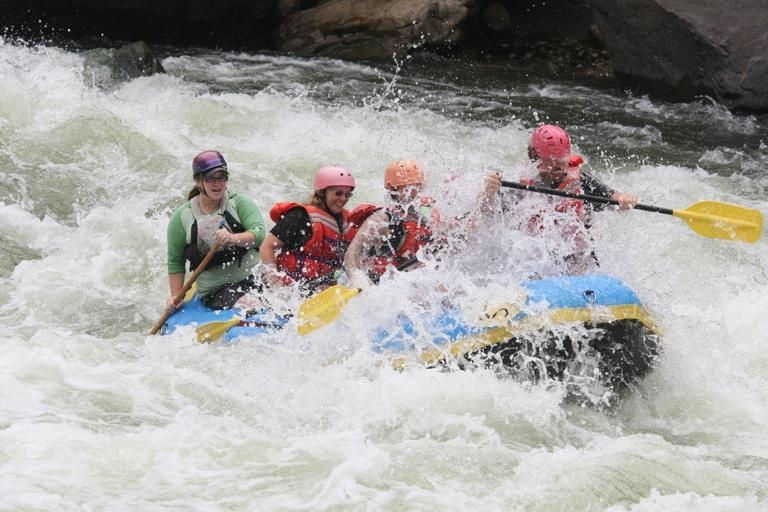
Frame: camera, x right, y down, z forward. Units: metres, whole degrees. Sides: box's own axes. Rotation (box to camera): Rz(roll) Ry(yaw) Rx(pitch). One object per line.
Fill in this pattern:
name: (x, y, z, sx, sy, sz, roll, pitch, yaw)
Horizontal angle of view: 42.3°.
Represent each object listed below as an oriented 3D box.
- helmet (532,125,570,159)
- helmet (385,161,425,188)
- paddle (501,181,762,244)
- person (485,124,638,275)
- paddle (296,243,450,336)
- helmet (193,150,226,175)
helmet: (1.710, -1.161, 10.441, 0.320, 0.379, 0.366, -5, -10, -10)
helmet: (0.190, -0.852, 10.166, 0.369, 0.267, 0.266, -19, -6, 14)
paddle: (2.704, -0.460, 10.997, 2.728, 0.366, 0.094, 13, 25, 0)
person: (1.875, -0.632, 10.482, 1.498, 1.344, 0.955, 14, 32, 12)
paddle: (-0.386, 0.388, 9.920, 1.127, 0.259, 0.120, -29, -12, -8)
helmet: (-1.803, -0.987, 10.267, 0.307, 0.242, 0.227, -21, 14, 11)
